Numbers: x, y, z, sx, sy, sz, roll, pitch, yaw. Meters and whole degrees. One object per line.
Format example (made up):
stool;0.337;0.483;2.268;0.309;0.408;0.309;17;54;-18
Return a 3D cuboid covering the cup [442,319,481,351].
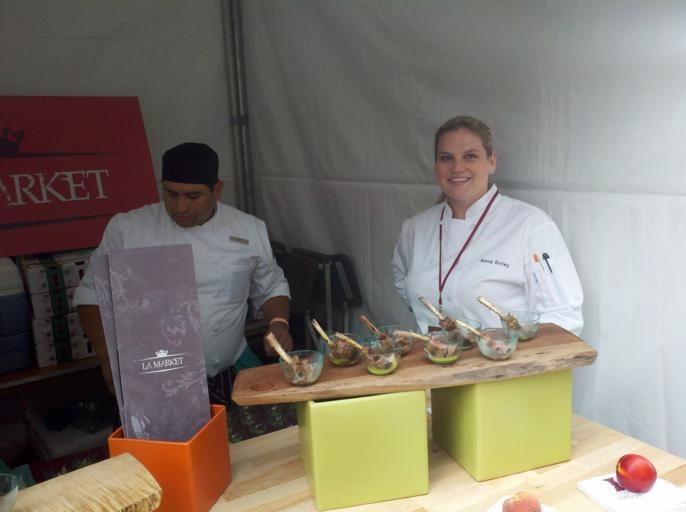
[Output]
cup;0.385;0.253;1.660;0.087;0.059;0.109;1;-5;-4

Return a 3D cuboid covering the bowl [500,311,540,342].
bowl;0.593;0.229;1.699;0.097;0.066;0.104;0;-5;0

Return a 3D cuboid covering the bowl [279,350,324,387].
bowl;-0.124;0.333;1.537;0.098;0.067;0.101;-3;6;0

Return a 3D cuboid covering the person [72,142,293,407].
person;-0.700;0.099;2.640;0.852;1.284;0.434;-8;8;-27

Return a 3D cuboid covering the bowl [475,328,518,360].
bowl;0.467;0.264;1.592;0.095;0.064;0.097;2;-3;0

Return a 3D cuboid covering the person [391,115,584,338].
person;0.539;-0.134;2.261;0.306;0.928;0.921;-10;9;-36

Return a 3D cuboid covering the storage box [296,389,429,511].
storage box;0.055;0.542;1.652;0.338;0.279;0.341;-4;-3;-9

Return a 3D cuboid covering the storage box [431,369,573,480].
storage box;0.511;0.536;1.733;0.450;0.485;0.265;-13;43;20

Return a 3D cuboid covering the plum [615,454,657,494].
plum;0.827;0.622;1.474;0.109;0.115;0.101;-6;10;34

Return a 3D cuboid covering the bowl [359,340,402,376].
bowl;0.118;0.312;1.583;0.107;0.089;0.104;-5;7;1
